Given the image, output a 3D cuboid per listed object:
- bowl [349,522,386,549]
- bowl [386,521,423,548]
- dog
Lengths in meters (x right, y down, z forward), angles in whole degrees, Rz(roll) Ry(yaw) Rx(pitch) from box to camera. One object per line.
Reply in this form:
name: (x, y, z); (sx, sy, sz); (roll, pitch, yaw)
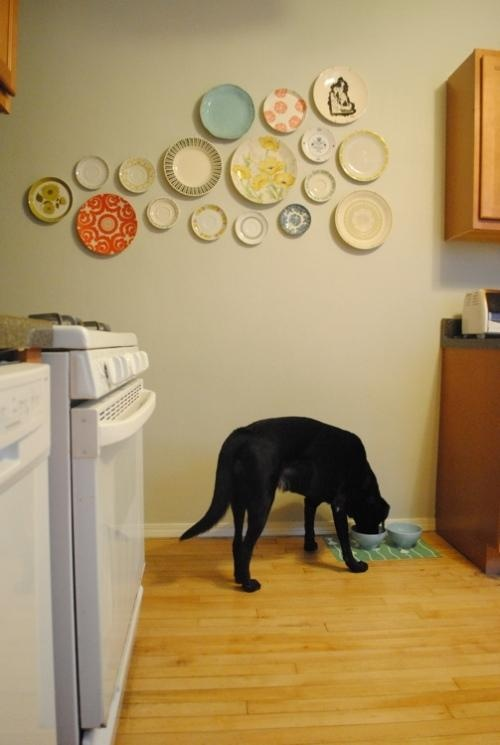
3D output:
bowl: (0.479, 0.643, 2.465); (0.105, 0.061, 0.102); (1, -3, 0)
bowl: (0.619, 0.656, 2.511); (0.098, 0.057, 0.101); (2, 1, 0)
dog: (0.167, 0.455, 2.298); (0.941, 0.589, 0.304); (3, -3, -37)
